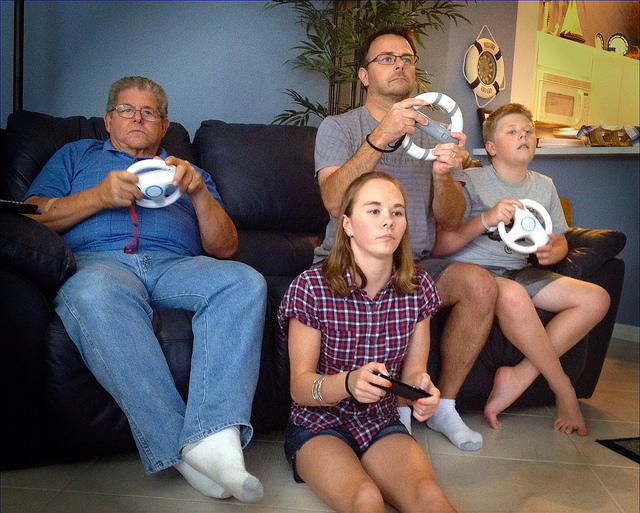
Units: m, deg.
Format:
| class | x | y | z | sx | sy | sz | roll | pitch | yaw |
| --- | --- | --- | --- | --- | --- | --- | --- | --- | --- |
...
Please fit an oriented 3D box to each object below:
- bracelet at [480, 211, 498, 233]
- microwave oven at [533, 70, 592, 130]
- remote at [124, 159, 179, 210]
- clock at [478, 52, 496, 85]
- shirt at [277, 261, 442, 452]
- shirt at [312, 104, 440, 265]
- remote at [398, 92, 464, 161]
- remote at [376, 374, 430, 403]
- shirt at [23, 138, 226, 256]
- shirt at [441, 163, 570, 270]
| class | x | y | z | sx | sy | sz | roll | pitch | yaw |
| --- | --- | --- | --- | --- | --- | --- | --- | --- | --- |
| bracelet | 0.670 | -0.134 | 1.848 | 0.018 | 0.076 | 0.075 | -12 | 3 | 25 |
| microwave oven | 2.303 | -1.469 | 4.533 | 0.579 | 0.444 | 0.374 | 4 | 3 | -7 |
| remote | -0.547 | -0.242 | 1.564 | 0.158 | 0.175 | 0.163 | -1 | 11 | -6 |
| clock | 1.334 | -1.498 | 3.721 | 0.056 | 0.218 | 0.216 | 7 | -20 | 46 |
| shirt | 0.122 | 0.301 | 1.439 | 0.577 | 0.625 | 0.336 | 3 | 22 | -17 |
| shirt | 0.107 | -0.292 | 1.906 | 0.469 | 0.419 | 0.279 | 12 | 35 | 20 |
| remote | 0.401 | -0.477 | 1.710 | 0.246 | 0.263 | 0.063 | 26 | -25 | -20 |
| remote | 0.203 | 0.320 | 1.131 | 0.140 | 0.068 | 0.046 | 1 | 6 | -12 |
| shirt | -0.796 | -0.191 | 1.886 | 0.707 | 0.574 | 0.410 | 4 | -20 | -11 |
| shirt | 0.815 | -0.144 | 2.072 | 0.622 | 0.516 | 0.275 | 8 | 1 | 10 |
